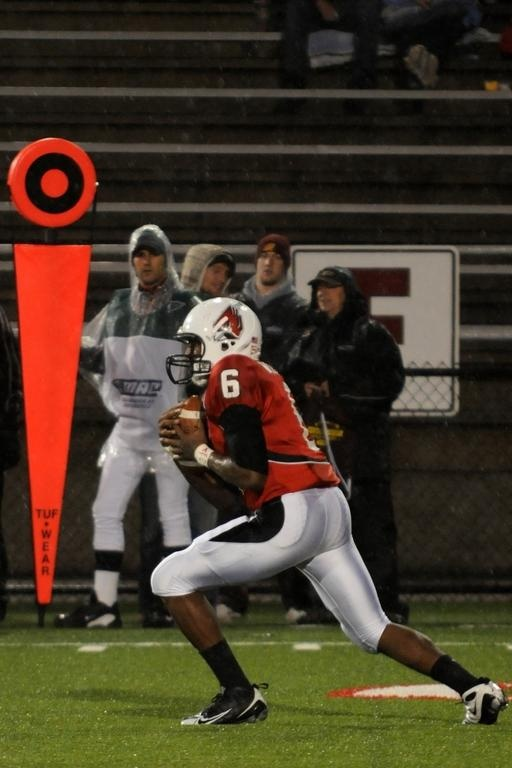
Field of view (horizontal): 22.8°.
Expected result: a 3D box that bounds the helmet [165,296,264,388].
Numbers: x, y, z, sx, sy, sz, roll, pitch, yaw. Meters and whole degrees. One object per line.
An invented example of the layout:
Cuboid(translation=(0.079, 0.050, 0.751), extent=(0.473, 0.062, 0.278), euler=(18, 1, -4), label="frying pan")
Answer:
Cuboid(translation=(-0.169, -0.146, 4.325), extent=(0.351, 0.283, 0.241), euler=(-2, -9, -18), label="helmet")

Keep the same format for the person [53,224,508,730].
Cuboid(translation=(0.038, 0.385, 4.056), extent=(0.784, 1.353, 1.108), euler=(-3, 3, -30), label="person")

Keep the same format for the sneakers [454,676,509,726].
Cuboid(translation=(0.720, 0.969, 3.832), extent=(0.175, 0.150, 0.125), euler=(-3, -11, 30), label="sneakers")

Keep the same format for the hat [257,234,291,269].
Cuboid(translation=(0.098, -0.701, 6.445), extent=(0.184, 0.156, 0.182), euler=(5, -13, 2), label="hat")

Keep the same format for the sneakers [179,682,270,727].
Cuboid(translation=(-0.074, 1.009, 3.956), extent=(0.338, 0.129, 0.102), euler=(-4, -10, -2), label="sneakers")

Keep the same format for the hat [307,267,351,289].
Cuboid(translation=(0.359, -0.510, 5.976), extent=(0.159, 0.062, 0.114), euler=(4, -5, -41), label="hat")

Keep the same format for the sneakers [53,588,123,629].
Cuboid(translation=(-0.767, 1.066, 5.851), extent=(0.401, 0.202, 0.129), euler=(3, -8, -6), label="sneakers")
